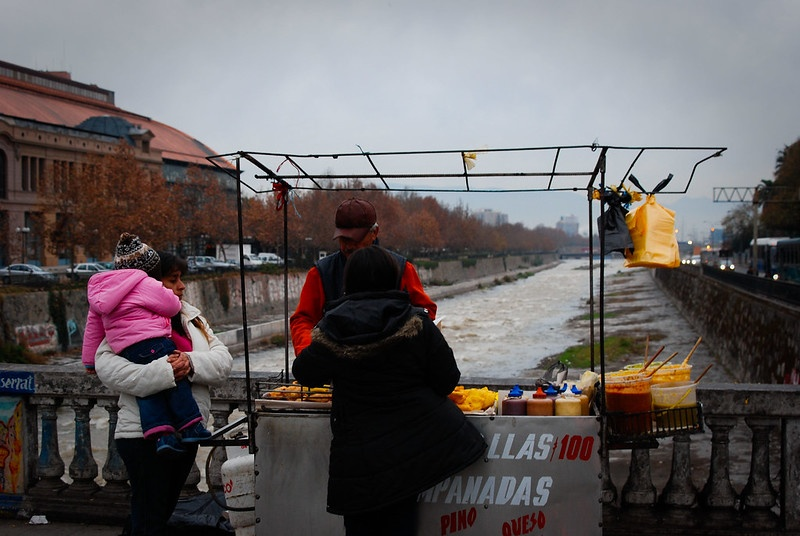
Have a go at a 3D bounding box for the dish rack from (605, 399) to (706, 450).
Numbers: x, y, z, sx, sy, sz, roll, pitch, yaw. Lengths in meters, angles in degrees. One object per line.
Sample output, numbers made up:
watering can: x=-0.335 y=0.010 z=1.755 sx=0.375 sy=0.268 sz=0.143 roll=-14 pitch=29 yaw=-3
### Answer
dish rack: x=2.892 y=1.814 z=10.898 sx=0.762 sy=0.286 sz=0.607 roll=-3 pitch=-8 yaw=-2

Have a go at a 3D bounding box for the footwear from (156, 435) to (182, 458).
footwear: x=-2.516 y=1.960 z=10.442 sx=0.143 sy=0.183 sz=0.362 roll=-1 pitch=-7 yaw=19

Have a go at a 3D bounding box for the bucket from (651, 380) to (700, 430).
bucket: x=3.136 y=1.575 z=10.880 sx=0.445 sy=0.438 sz=0.520 roll=0 pitch=-11 yaw=3

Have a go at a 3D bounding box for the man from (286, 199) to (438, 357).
man: x=-0.409 y=0.523 z=10.934 sx=1.673 sy=2.566 sz=1.113 roll=-2 pitch=5 yaw=-8

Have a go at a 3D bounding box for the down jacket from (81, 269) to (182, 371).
down jacket: x=-3.076 y=0.546 z=10.796 sx=1.055 sy=1.253 sz=0.853 roll=-1 pitch=7 yaw=2

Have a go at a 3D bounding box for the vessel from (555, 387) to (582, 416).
vessel: x=1.842 y=1.481 z=10.502 sx=0.207 sy=0.276 sz=0.224 roll=2 pitch=-10 yaw=-13

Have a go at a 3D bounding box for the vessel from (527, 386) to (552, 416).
vessel: x=1.538 y=1.491 z=10.514 sx=0.298 sy=0.274 sz=0.188 roll=-3 pitch=0 yaw=-12

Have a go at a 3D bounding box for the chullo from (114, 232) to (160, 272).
chullo: x=-2.956 y=-0.291 z=10.714 sx=0.409 sy=0.389 sz=0.434 roll=-23 pitch=-16 yaw=-6

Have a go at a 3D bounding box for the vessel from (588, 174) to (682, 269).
vessel: x=2.524 y=-0.451 z=10.371 sx=0.923 sy=1.141 sz=0.603 roll=1 pitch=3 yaw=4

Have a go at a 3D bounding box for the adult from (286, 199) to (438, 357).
adult: x=-0.413 y=0.522 z=10.901 sx=1.653 sy=2.535 sz=1.139 roll=-1 pitch=4 yaw=-4

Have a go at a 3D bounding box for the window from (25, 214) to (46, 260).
window: x=-20.049 y=-1.511 z=52.509 sx=0.887 sy=3.040 sz=0.846 roll=-7 pitch=13 yaw=-33

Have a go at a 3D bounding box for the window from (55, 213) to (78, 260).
window: x=-15.867 y=-1.432 z=45.519 sx=0.967 sy=2.554 sz=3.759 roll=-2 pitch=0 yaw=-21

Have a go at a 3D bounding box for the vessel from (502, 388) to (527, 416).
vessel: x=1.267 y=1.500 z=10.559 sx=0.220 sy=0.290 sz=0.232 roll=-1 pitch=-3 yaw=33

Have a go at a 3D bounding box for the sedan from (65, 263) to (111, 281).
sedan: x=-11.997 y=0.163 z=36.670 sx=1.100 sy=0.483 sz=0.648 roll=-8 pitch=2 yaw=-1
